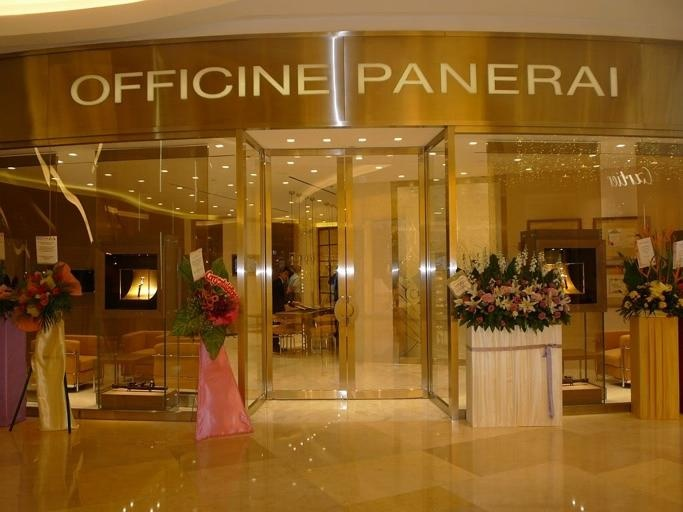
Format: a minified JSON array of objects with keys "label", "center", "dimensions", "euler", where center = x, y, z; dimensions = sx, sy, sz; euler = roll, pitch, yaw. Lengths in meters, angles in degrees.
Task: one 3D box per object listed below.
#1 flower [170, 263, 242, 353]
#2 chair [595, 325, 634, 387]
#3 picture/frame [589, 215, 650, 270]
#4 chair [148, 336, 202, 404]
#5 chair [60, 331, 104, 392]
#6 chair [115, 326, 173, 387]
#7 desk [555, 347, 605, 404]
[{"label":"flower","center":[-1.672,0.607,7.651],"dimensions":[0.767,1.009,0.494],"euler":[-2,1,-9]},{"label":"chair","center":[3.638,1.333,8.225],"dimensions":[0.582,0.778,0.594],"euler":[3,-4,-17]},{"label":"picture/frame","center":[3.675,-0.165,8.281],"dimensions":[0.658,0.817,0.053],"euler":[1,-3,-1]},{"label":"chair","center":[-2.113,1.492,8.475],"dimensions":[0.737,1.033,0.785],"euler":[0,2,1]},{"label":"chair","center":[-3.441,1.411,8.231],"dimensions":[0.608,0.823,0.585],"euler":[-2,0,-2]},{"label":"chair","center":[-2.604,1.367,8.491],"dimensions":[0.681,0.801,0.722],"euler":[1,-1,6]},{"label":"desk","center":[3.207,1.604,8.491],"dimensions":[0.646,0.690,0.685],"euler":[0,2,7]}]
